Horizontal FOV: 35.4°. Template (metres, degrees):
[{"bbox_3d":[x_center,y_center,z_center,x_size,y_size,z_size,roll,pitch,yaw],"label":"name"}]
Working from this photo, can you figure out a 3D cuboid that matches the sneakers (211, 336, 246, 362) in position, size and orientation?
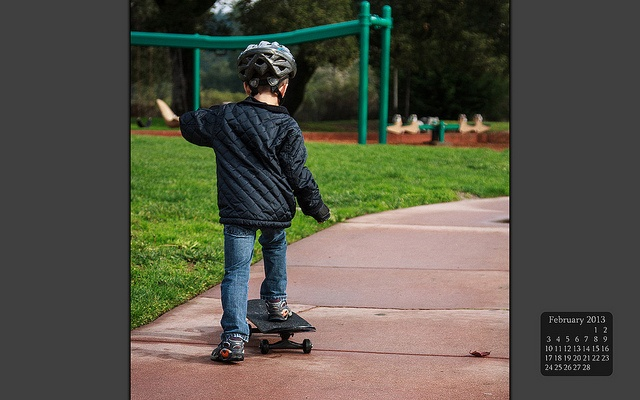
[{"bbox_3d":[-0.949,1.532,10.342,0.362,0.292,0.188,1,3,0],"label":"sneakers"}]

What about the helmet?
[{"bbox_3d":[-0.564,-1.413,10.367,0.452,0.482,0.553,3,10,5],"label":"helmet"}]

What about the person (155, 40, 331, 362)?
[{"bbox_3d":[-0.676,0.010,10.429,1.420,3.322,0.464,0,3,-8],"label":"person"}]
